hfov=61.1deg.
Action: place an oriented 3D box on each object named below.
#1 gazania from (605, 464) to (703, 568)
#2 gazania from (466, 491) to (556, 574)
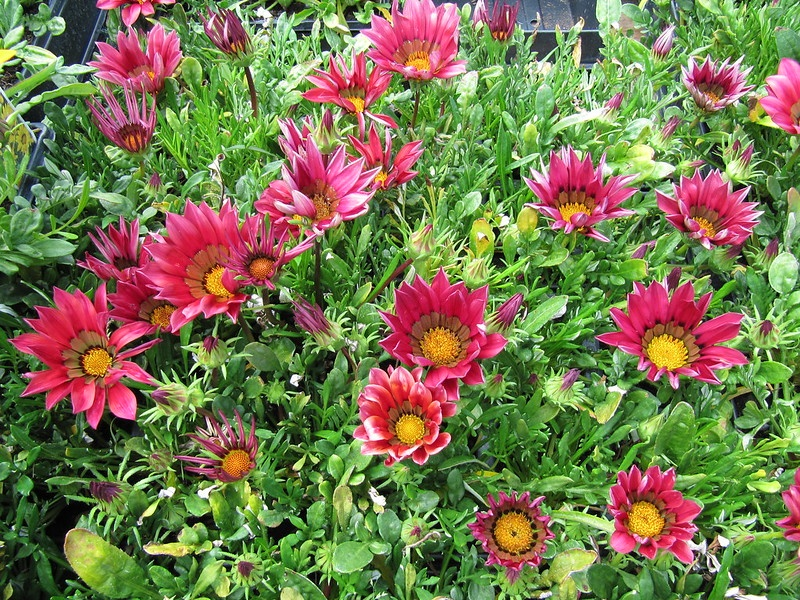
[{"bbox_3d":[0.496,0.426,1.347,0.157,0.084,0.217,-3,70,4],"label":"gazania"},{"bbox_3d":[0.228,0.476,1.392,0.161,0.058,0.151,-11,68,-11],"label":"gazania"}]
